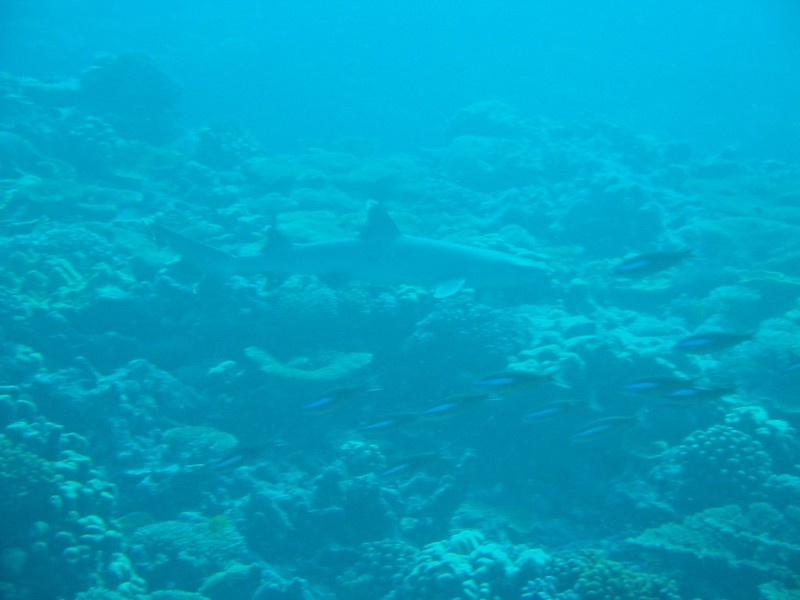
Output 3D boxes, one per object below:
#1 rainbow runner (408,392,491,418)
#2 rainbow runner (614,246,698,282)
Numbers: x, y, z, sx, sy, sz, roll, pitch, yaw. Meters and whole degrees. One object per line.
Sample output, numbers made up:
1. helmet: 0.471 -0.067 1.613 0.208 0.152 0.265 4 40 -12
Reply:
1. rainbow runner: 0.856 1.796 16.172 1.003 0.407 0.603 -1 3 -27
2. rainbow runner: 3.939 -0.572 15.230 1.138 0.415 0.361 0 3 3
